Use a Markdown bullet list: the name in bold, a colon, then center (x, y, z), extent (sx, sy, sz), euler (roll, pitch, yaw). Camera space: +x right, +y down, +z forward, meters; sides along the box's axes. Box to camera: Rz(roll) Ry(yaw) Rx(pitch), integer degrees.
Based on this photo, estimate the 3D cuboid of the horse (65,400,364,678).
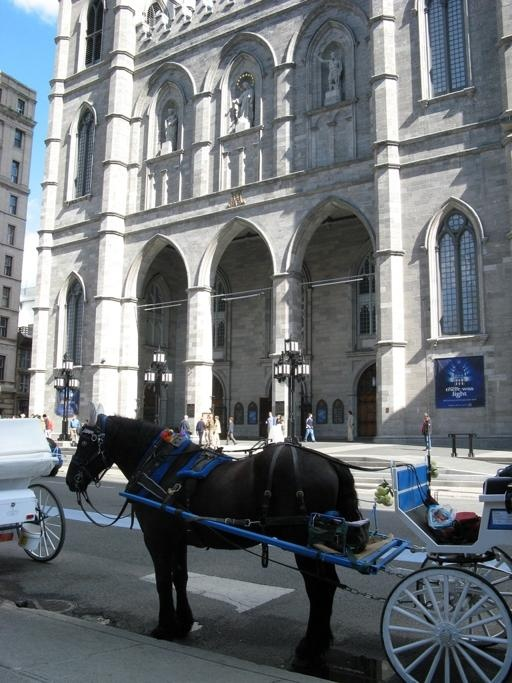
- **horse**: center (-0.406, 1.527, 5.571), extent (2.798, 1.742, 0.669), euler (0, -5, 27)
